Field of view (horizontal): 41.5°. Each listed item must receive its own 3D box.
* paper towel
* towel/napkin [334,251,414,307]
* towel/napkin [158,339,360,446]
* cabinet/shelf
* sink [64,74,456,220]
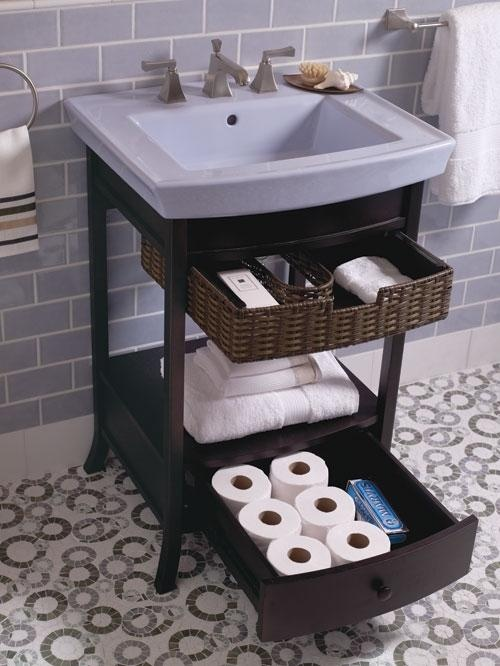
[{"bbox_3d":[0.085,0.324,1.192,0.180,0.053,0.236,-12,34,-22],"label":"paper towel"},{"bbox_3d":[0.213,-0.105,1.135,0.103,0.032,0.104,-21,44,-34],"label":"towel/napkin"},{"bbox_3d":[0.032,0.111,1.253,0.256,0.069,0.239,-8,29,-16],"label":"towel/napkin"},{"bbox_3d":[0.017,0.077,1.249,0.559,0.754,0.796,-7,29,-20],"label":"cabinet/shelf"},{"bbox_3d":[0.040,-0.328,1.140,0.594,0.130,0.503,-10,30,-24],"label":"sink"}]
